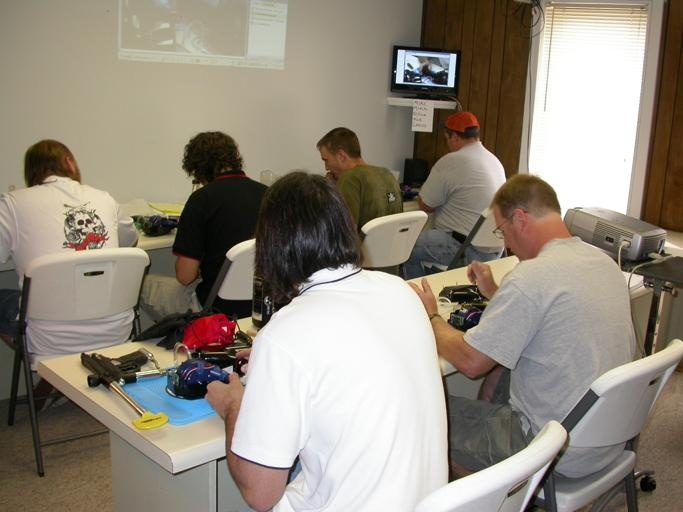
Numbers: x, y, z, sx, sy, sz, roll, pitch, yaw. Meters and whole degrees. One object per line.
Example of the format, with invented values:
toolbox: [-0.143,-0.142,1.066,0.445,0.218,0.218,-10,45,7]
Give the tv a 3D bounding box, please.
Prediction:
tv: [0.794,-1.693,5.129,0.451,0.373,0.052,5,7,1]

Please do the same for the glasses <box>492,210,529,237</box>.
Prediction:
glasses: [0.648,-0.127,2.114,0.100,0.036,0.108,-6,29,-28]

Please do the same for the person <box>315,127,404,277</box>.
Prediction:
person: [0.143,-0.155,3.730,0.506,1.327,0.496,-2,14,-14]

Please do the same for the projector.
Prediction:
projector: [1.448,-0.137,3.117,0.321,0.228,0.583,3,20,-36]

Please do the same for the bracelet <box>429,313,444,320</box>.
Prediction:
bracelet: [0.352,0.225,2.045,0.039,0.026,0.039,32,-20,-23]

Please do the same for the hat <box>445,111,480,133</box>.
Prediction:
hat: [0.882,-1.049,4.135,0.174,0.154,0.245,-9,28,-21]
